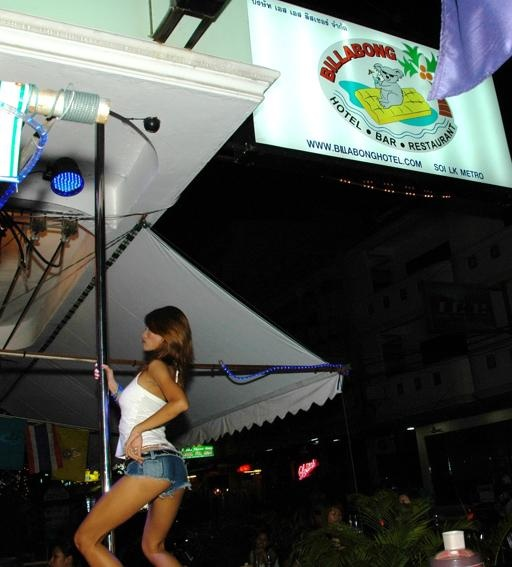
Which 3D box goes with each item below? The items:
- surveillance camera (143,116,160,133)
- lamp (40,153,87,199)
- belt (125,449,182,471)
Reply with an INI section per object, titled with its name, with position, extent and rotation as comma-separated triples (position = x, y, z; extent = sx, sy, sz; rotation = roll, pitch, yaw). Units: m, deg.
[surveillance camera]
position = -0.734, -1.095, 3.682
extent = 0.122, 0.136, 0.097
rotation = 2, -4, -8
[lamp]
position = -1.596, -0.904, 4.318
extent = 0.275, 0.334, 0.222
rotation = -13, -19, 25
[belt]
position = -0.467, 0.821, 2.414
extent = 0.287, 0.103, 0.097
rotation = 12, -23, -43
